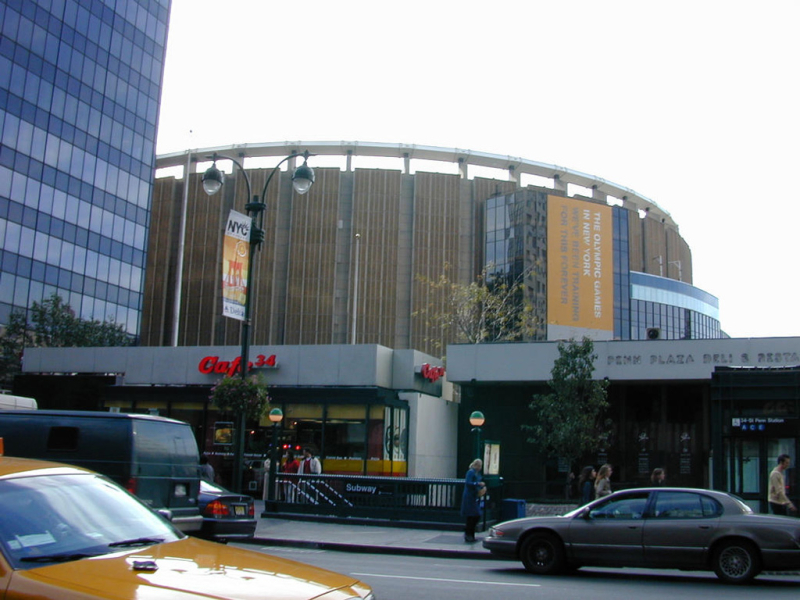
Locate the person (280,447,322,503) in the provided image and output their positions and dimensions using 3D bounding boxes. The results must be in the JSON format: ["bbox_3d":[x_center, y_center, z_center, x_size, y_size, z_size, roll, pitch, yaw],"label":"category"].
[{"bbox_3d":[-3.047,5.449,25.713,1.553,1.584,1.112,-2,-10,16],"label":"person"}]
